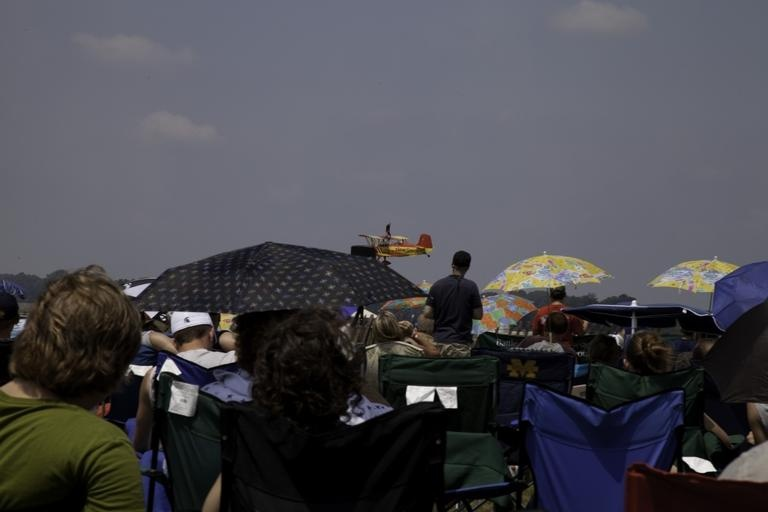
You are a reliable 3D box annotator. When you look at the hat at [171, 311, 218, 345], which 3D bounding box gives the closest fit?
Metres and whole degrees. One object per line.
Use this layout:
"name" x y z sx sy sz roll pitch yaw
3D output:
"hat" -1.252 0.474 4.725 0.222 0.144 0.283 -8 0 3
